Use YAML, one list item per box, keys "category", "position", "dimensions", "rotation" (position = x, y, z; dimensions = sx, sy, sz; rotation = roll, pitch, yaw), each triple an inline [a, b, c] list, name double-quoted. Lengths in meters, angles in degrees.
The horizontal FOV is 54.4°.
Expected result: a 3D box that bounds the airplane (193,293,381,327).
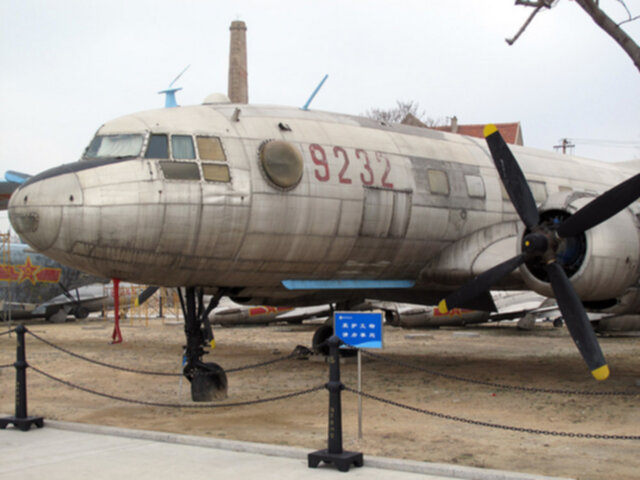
- category: "airplane"
  position: [-2.183, 3.639, 30.805]
  dimensions: [5.006, 1.179, 5.030]
  rotation: [-5, 7, -32]
